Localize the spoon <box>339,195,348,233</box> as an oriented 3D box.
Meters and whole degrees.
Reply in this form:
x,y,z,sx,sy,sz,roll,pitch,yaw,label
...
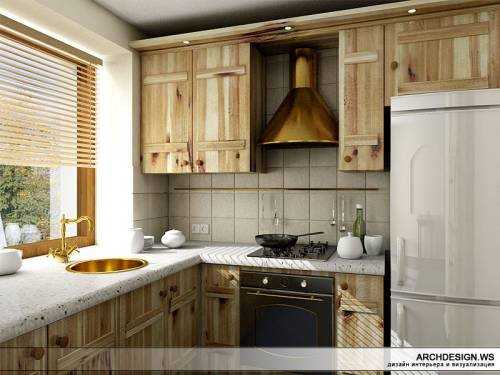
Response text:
x,y,z,sx,sy,sz,roll,pitch,yaw,label
0.722,0.210,3.255,0.053,0.289,0.021,-2,0,11,spoon

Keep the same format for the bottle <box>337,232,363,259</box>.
x,y,z,sx,sy,sz,roll,pitch,yaw,label
0.682,0.403,2.864,0.147,0.178,0.134,-2,0,0,bottle

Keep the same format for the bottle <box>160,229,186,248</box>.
x,y,z,sx,sy,sz,roll,pitch,yaw,label
-0.604,0.405,3.289,0.155,0.120,0.149,1,1,0,bottle

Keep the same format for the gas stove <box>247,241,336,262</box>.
x,y,z,sx,sy,sz,roll,pitch,yaw,label
0.327,0.459,3.093,0.595,0.067,0.573,-1,0,15,gas stove

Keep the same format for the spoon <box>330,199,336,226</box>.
x,y,z,sx,sy,sz,roll,pitch,yaw,label
0.654,0.198,3.279,0.042,0.206,0.019,-2,0,10,spoon

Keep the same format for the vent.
x,y,z,sx,sy,sz,roll,pitch,yaw,label
0.421,-0.727,3.255,0.700,0.655,0.656,-1,14,3,vent

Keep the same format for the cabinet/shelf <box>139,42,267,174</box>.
x,y,z,sx,sy,sz,roll,pitch,yaw,label
-0.354,-0.616,3.220,1.093,0.990,0.406,-1,-2,17,cabinet/shelf

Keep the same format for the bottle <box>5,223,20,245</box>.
x,y,z,sx,sy,sz,roll,pitch,yaw,label
-1.611,0.316,2.840,0.025,0.157,0.112,-2,0,18,bottle

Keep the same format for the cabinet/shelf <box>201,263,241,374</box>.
x,y,z,sx,sy,sz,roll,pitch,yaw,label
-0.228,0.840,2.946,0.305,0.604,0.113,-2,0,29,cabinet/shelf

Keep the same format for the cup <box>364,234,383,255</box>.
x,y,z,sx,sy,sz,roll,pitch,yaw,label
0.882,0.411,2.993,0.125,0.146,0.149,-2,0,14,cup

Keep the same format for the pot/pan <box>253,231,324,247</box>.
x,y,z,sx,sy,sz,roll,pitch,yaw,label
0.260,0.387,3.067,0.370,0.058,0.200,0,-3,-19,pot/pan

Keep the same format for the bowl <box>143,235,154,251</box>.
x,y,z,sx,sy,sz,roll,pitch,yaw,label
-0.779,0.421,3.195,0.098,0.058,0.101,0,4,0,bowl

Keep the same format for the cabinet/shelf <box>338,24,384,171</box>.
x,y,z,sx,sy,sz,roll,pitch,yaw,label
0.724,-0.643,3.024,0.356,0.937,0.354,-6,8,-20,cabinet/shelf

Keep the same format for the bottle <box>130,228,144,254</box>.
x,y,z,sx,sy,sz,roll,pitch,yaw,label
-0.830,0.392,3.077,0.090,0.186,0.145,-2,0,-3,bottle
